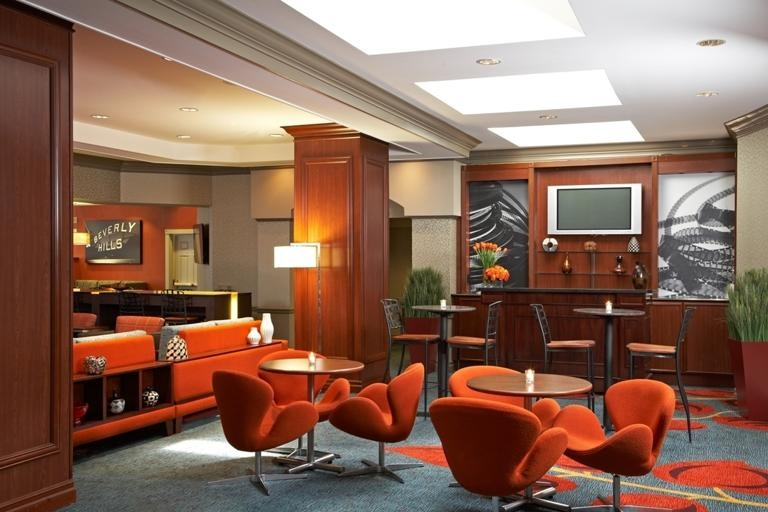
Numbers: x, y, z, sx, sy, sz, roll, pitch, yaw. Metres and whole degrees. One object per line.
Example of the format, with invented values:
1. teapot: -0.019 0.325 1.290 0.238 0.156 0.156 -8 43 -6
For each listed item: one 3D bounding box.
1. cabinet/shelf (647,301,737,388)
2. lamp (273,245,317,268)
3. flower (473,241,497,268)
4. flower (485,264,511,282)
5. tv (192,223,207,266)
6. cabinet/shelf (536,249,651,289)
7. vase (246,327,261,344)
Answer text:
1. cabinet/shelf: 4.773 1.388 7.924 1.738 1.498 0.595 0 -1 25
2. lamp: -1.284 0.015 7.629 0.650 0.358 0.545 0 -1 -27
3. flower: 1.791 -0.007 9.508 0.538 0.529 0.525 1 0 17
4. flower: 1.949 0.285 8.767 0.368 0.208 0.395 1 0 37
5. tv: -4.343 -0.276 12.384 0.170 0.955 0.660 0 0 -38
6. cabinet/shelf: 3.883 0.256 9.767 1.938 0.679 0.273 0 0 19
7. vase: -1.756 1.090 7.019 0.208 0.209 0.204 0 -3 -21
